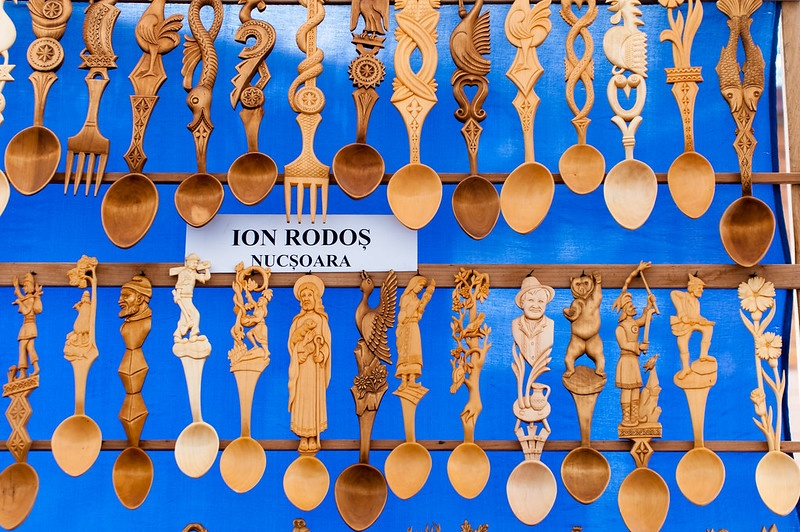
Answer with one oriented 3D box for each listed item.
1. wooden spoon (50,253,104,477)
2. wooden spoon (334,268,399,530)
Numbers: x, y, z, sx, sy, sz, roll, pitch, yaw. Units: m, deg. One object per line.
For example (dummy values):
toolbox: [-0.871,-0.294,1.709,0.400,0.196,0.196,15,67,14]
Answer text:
wooden spoon: [-0.942,0.289,4.940,0.131,0.090,0.675,0,-95,-1]
wooden spoon: [-0.093,0.382,4.991,0.147,0.101,0.766,1,-94,3]
